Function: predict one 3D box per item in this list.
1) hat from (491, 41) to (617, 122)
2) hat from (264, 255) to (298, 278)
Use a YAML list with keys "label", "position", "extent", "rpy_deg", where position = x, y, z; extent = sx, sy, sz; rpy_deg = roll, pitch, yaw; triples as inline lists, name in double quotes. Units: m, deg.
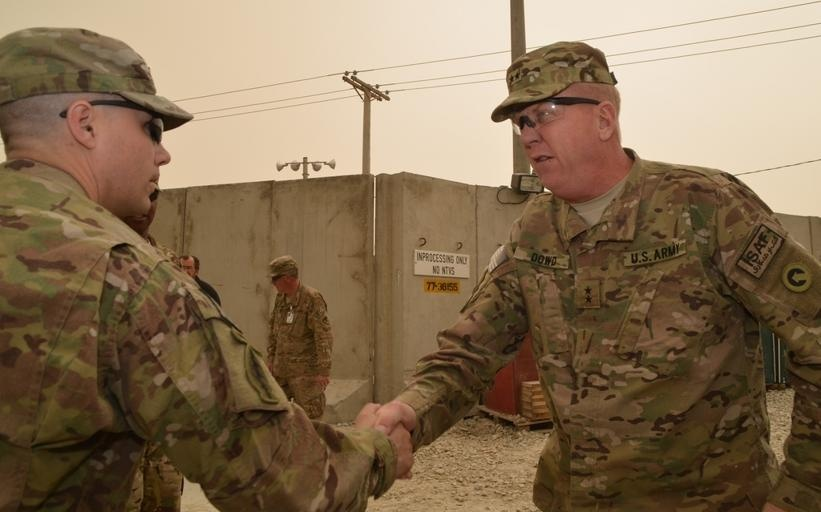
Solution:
- label: "hat"
  position: [0.680, -0.865, 4.157]
  extent: [0.665, 0.281, 0.447]
  rpy_deg: [-12, 1, -17]
- label: "hat"
  position: [-1.304, 0.116, 8.533]
  extent: [0.268, 0.192, 0.220]
  rpy_deg: [-4, 9, -25]
